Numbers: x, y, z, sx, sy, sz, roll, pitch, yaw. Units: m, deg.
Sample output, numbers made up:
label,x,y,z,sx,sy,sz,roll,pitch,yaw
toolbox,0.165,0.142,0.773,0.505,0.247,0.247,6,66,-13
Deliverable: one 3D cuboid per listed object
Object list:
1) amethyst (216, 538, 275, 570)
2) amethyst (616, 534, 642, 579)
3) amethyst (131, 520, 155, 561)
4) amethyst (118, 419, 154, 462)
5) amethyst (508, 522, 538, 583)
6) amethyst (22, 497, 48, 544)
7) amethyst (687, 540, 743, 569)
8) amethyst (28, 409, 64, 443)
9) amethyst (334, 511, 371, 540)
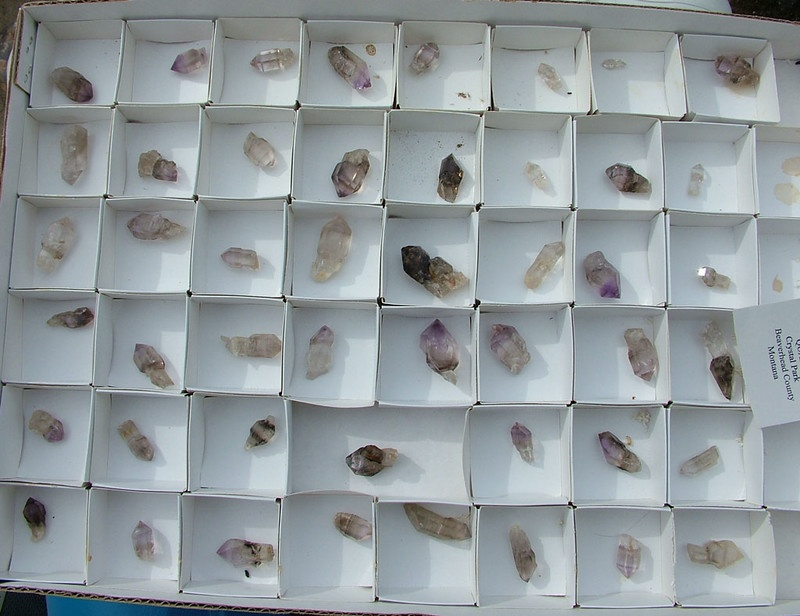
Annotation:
label,x,y,z,sx,sy,sz,roll,pitch,yaw
amethyst,-0.547,0.872,2.542,0.153,0.116,0.061,1,-12,-6
amethyst,0.820,0.882,2.593,0.084,0.149,0.046,-1,-8,5
amethyst,-0.923,0.835,2.613,0.074,0.133,0.051,-7,-27,-13
amethyst,-0.954,0.479,2.637,0.088,0.173,0.034,-35,-2,-8
amethyst,0.440,0.875,2.603,0.073,0.187,0.085,-24,-28,22
amethyst,-1.317,0.756,2.615,0.079,0.152,0.040,-8,-3,-13
amethyst,1.137,0.879,2.617,0.191,0.107,0.046,-10,-26,-12
amethyst,-1.283,0.429,2.635,0.087,0.135,0.034,-53,-3,-11
amethyst,-0.167,0.791,2.607,0.129,0.080,0.043,12,-11,1
